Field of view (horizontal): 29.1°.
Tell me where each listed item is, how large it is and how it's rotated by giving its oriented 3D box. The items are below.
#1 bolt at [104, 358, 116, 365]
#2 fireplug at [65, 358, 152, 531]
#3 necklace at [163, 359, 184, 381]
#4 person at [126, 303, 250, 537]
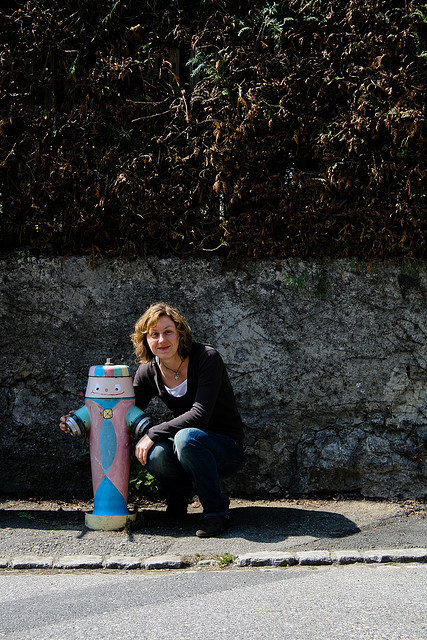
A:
[{"bbox_3d":[-0.645,0.259,5.083,0.048,0.041,0.048,-3,-4,39],"label":"bolt"},{"bbox_3d":[-0.635,0.748,4.980,0.520,1.018,0.257,-2,-2,-9],"label":"fireplug"},{"bbox_3d":[-0.241,0.296,4.969,0.128,0.114,0.006,-10,-2,5],"label":"necklace"},{"bbox_3d":[-0.172,0.690,5.122,0.729,1.442,0.878,-25,-36,27],"label":"person"}]
